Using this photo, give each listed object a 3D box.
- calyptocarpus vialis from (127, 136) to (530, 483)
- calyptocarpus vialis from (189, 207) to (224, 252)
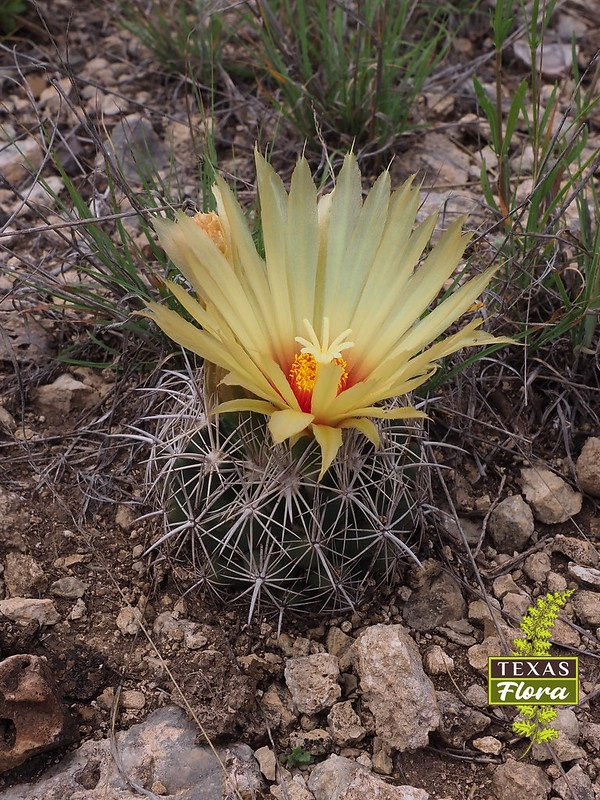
[{"bbox_3d":[0.045,-0.105,1.058,0.458,0.422,0.478,-29,67,-11],"label":"calyptocarpus vialis"},{"bbox_3d":[-0.132,-0.257,1.046,0.057,0.054,0.032,2,16,44],"label":"calyptocarpus vialis"}]
